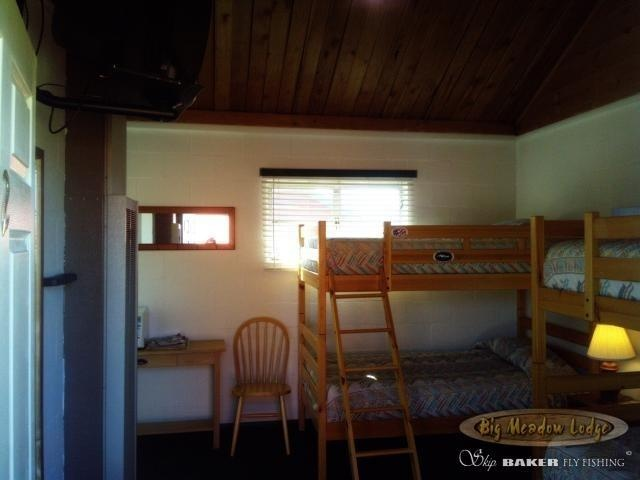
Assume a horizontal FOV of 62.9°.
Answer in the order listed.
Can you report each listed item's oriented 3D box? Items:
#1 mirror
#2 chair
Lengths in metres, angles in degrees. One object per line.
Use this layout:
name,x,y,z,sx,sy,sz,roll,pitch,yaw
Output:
mirror,-1.185,-0.109,4.724,0.826,0.385,0.096,-1,7,-6
chair,-0.517,1.223,4.561,0.520,0.978,0.636,-1,7,-4
